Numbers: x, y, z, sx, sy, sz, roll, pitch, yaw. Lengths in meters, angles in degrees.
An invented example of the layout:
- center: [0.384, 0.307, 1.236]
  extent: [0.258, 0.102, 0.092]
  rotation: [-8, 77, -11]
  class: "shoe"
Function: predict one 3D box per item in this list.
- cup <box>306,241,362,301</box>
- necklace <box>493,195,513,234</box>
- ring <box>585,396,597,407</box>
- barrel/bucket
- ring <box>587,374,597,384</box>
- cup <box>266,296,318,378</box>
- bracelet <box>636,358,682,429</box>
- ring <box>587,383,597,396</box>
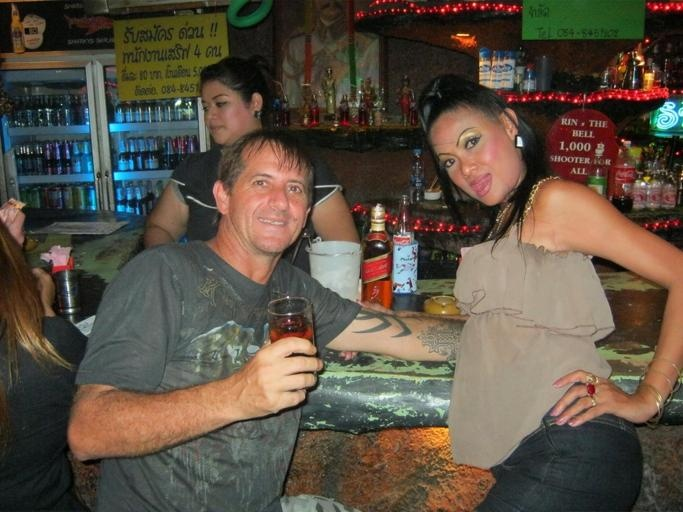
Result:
- center: [-0.021, 0.049, 2.116]
  extent: [0.238, 0.222, 0.242]
  rotation: [-1, 3, 0]
  class: "cup"
- center: [0.609, -0.161, 2.041]
  extent: [0.024, 0.042, 0.161]
  rotation: [17, -26, -1]
  class: "necklace"
- center: [0.755, 0.437, 1.639]
  extent: [0.012, 0.027, 0.025]
  rotation: [12, -23, -28]
  class: "ring"
- center: [0.006, 0.066, 2.112]
  extent: [0.235, 0.232, 0.246]
  rotation: [-2, 2, 0]
  class: "barrel/bucket"
- center: [0.777, 0.379, 1.679]
  extent: [0.026, 0.026, 0.008]
  rotation: [1, -23, -8]
  class: "ring"
- center: [-0.149, 0.209, 1.597]
  extent: [0.127, 0.157, 0.229]
  rotation: [-2, 9, -8]
  class: "cup"
- center: [1.030, 0.448, 1.749]
  extent: [0.173, 0.204, 0.055]
  rotation: [-1, 10, 11]
  class: "bracelet"
- center: [0.764, 0.408, 1.658]
  extent: [0.023, 0.028, 0.032]
  rotation: [3, 10, 23]
  class: "ring"
